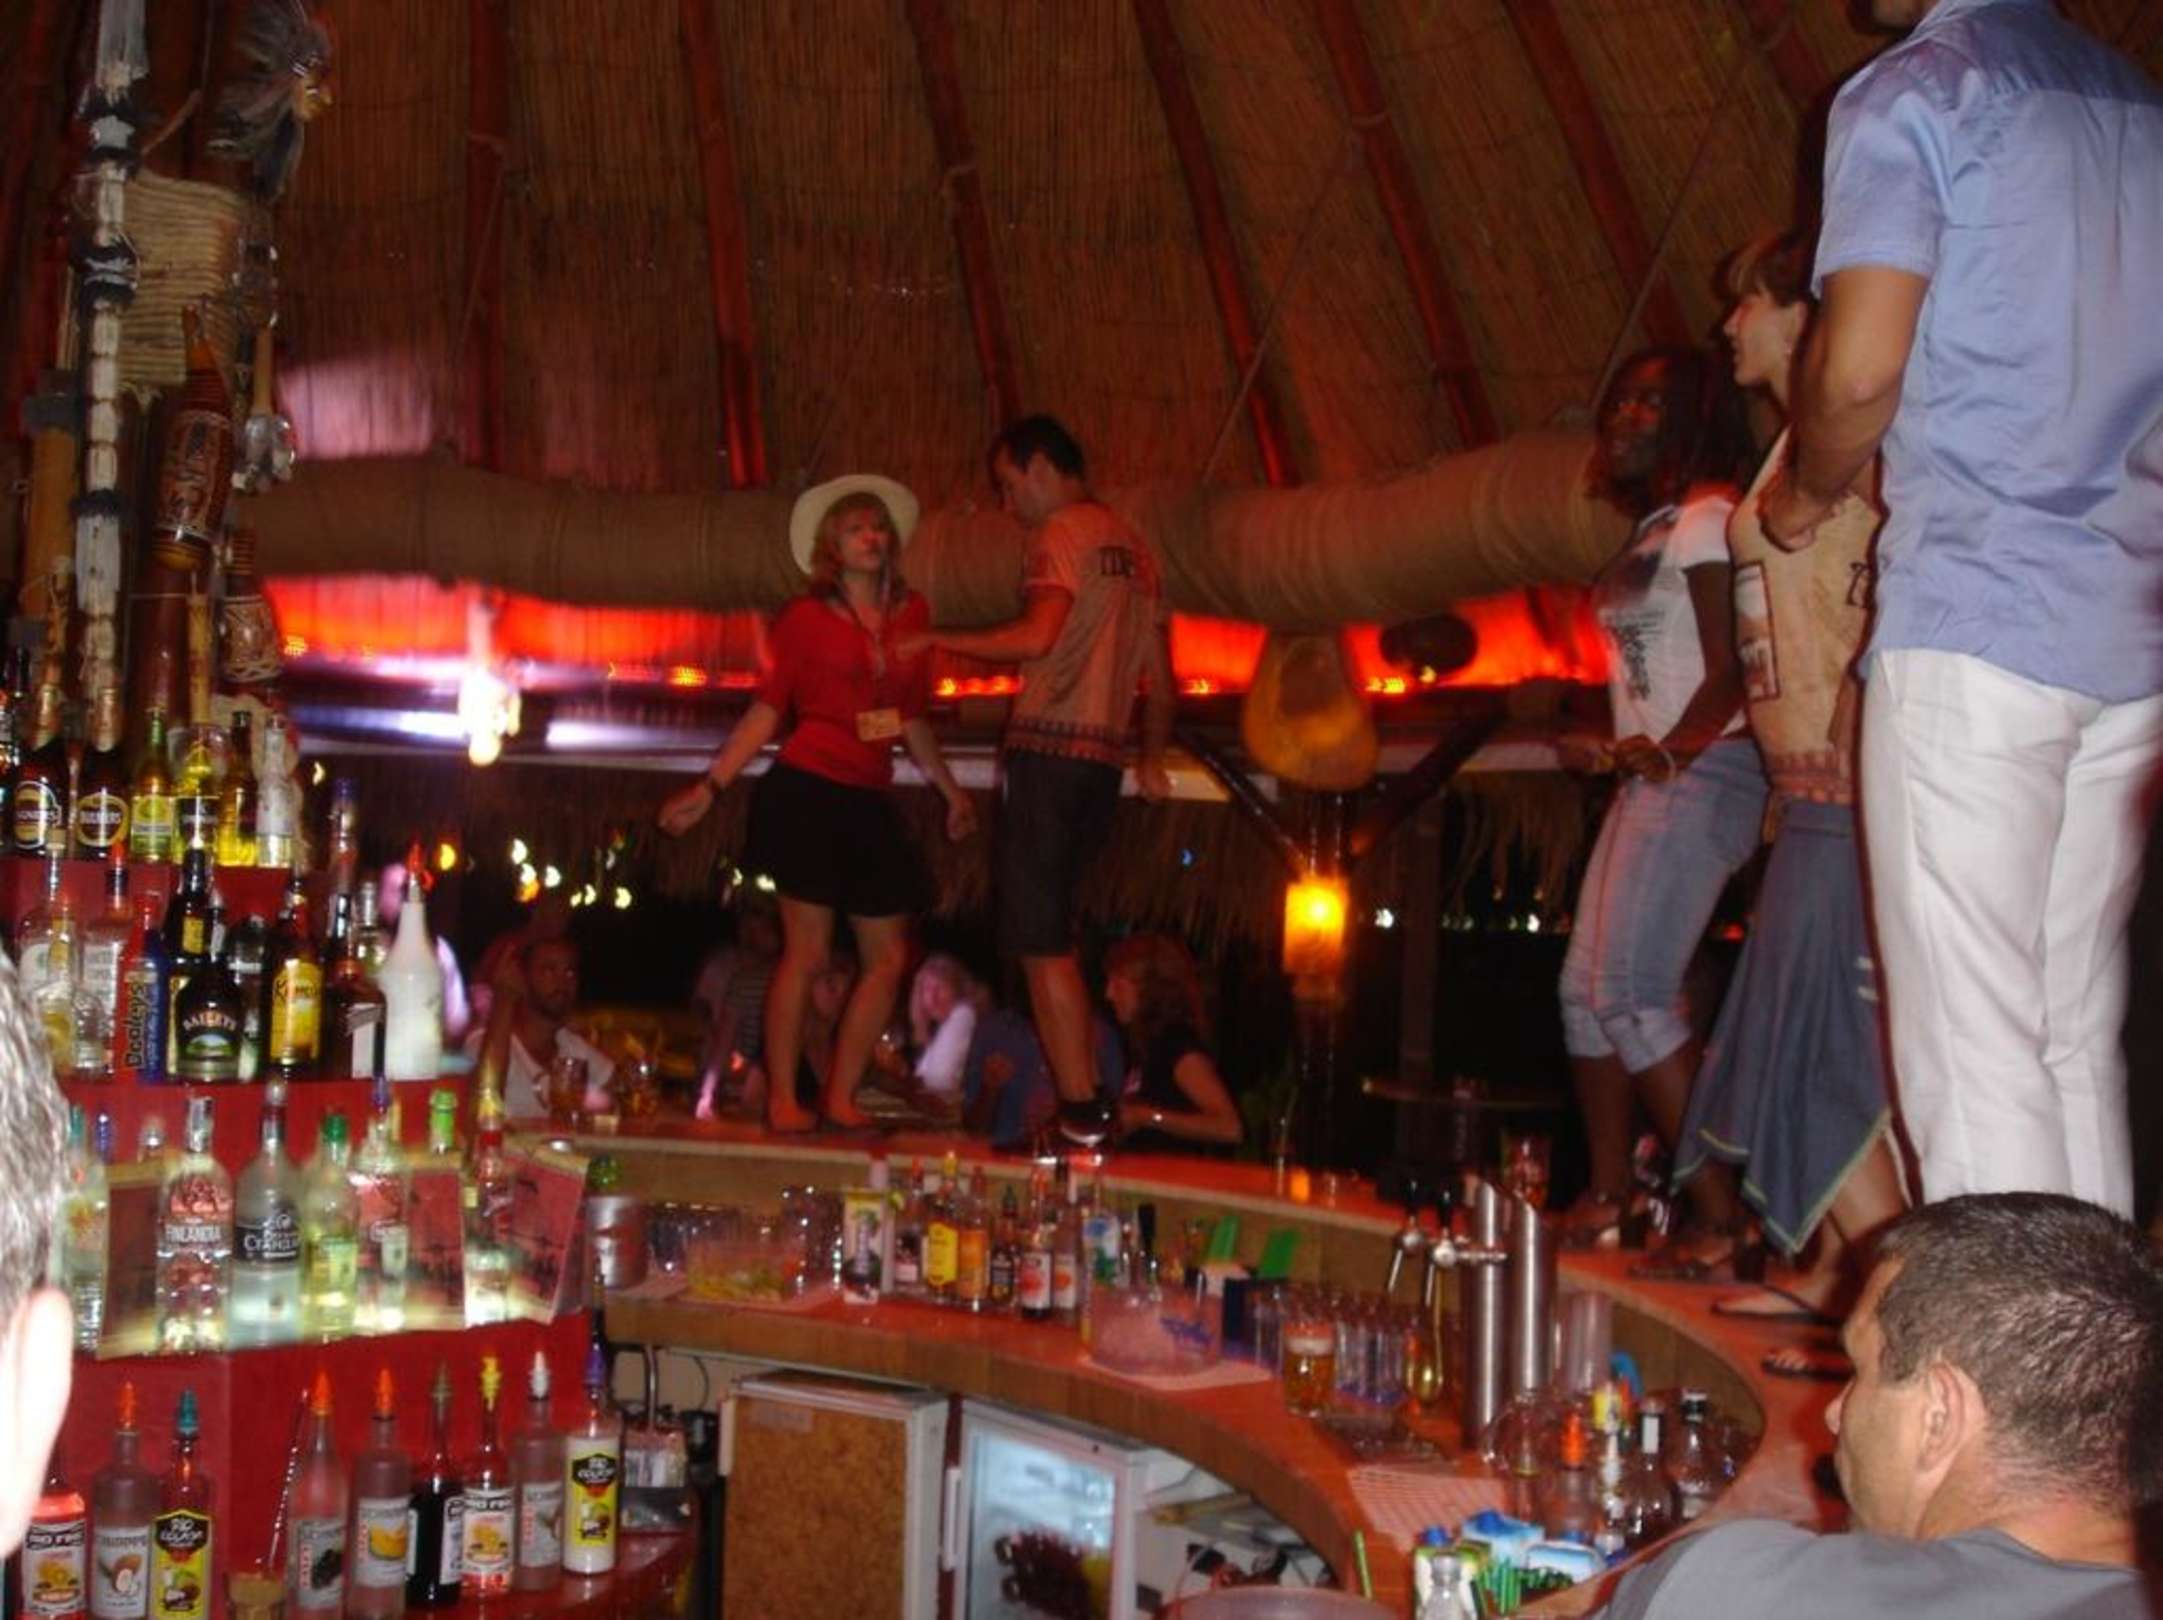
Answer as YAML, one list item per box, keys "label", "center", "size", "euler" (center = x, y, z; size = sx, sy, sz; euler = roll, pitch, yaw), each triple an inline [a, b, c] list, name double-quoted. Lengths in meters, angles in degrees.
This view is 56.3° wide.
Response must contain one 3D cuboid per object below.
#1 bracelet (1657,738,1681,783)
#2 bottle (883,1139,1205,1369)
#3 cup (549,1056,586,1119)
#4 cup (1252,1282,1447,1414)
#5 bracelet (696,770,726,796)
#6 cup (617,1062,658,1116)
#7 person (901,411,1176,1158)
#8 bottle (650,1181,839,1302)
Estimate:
- label: "bracelet"
  center: [1.050, -0.089, 3.621]
  size: [0.010, 0.054, 0.047]
  euler: [2, 14, -8]
- label: "bottle"
  center: [-0.020, 0.987, 4.444]
  size: [0.284, 0.396, 0.871]
  euler: [5, -9, -37]
- label: "cup"
  center: [-1.438, 0.774, 5.667]
  size: [0.111, 0.217, 0.122]
  euler: [-1, 2, -20]
- label: "cup"
  center: [0.469, 0.965, 3.625]
  size: [0.207, 0.160, 0.191]
  euler: [-2, -8, 0]
- label: "bracelet"
  center: [-0.947, -0.073, 5.191]
  size: [0.025, 0.068, 0.077]
  euler: [-32, -39, -15]
- label: "cup"
  center: [-1.300, 0.817, 5.913]
  size: [0.109, 0.155, 0.123]
  euler: [1, -12, -6]
- label: "person"
  center: [-0.035, -0.109, 5.266]
  size: [0.332, 1.229, 0.700]
  euler: [-3, 7, 45]
- label: "bottle"
  center: [-0.800, 1.033, 4.791]
  size: [0.253, 0.200, 0.281]
  euler: [1, -5, 18]
